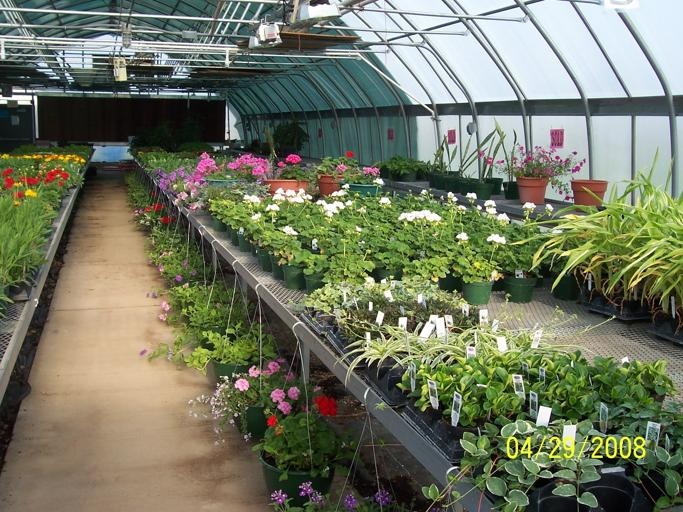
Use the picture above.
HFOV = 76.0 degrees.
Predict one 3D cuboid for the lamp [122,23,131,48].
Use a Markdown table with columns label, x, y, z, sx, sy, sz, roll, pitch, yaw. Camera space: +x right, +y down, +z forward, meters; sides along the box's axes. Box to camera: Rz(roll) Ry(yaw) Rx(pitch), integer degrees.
| label | x | y | z | sx | sy | sz | roll | pitch | yaw |
| --- | --- | --- | --- | --- | --- | --- | --- | --- | --- |
| lamp | -5.040 | -5.151 | 10.178 | 0.195 | 0.528 | 0.633 | -7 | 17 | -26 |
